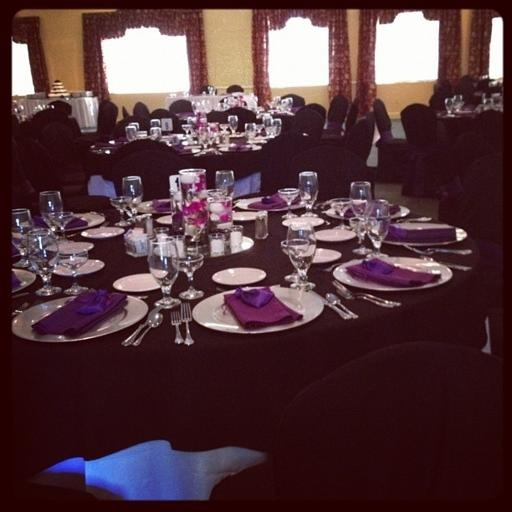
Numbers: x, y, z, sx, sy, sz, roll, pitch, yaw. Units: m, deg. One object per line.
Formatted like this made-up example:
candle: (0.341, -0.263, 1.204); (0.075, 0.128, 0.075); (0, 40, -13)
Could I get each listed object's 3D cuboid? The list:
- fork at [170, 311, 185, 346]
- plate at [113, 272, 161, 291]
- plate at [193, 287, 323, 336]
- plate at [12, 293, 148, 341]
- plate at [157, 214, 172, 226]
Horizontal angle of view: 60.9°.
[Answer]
fork: (-0.178, 0.155, 0.981); (0.020, 0.011, 0.124); (-6, 33, -11)
plate: (-0.343, 0.078, 1.249); (0.080, 0.008, 0.076); (5, 22, 5)
plate: (0.005, 0.125, 1.037); (0.310, 0.036, 0.230); (-4, 13, -7)
plate: (-0.425, 0.144, 1.042); (0.316, 0.030, 0.251); (1, 13, 17)
plate: (-0.421, -0.169, 2.008); (0.064, 0.011, 0.059); (0, 27, -2)
